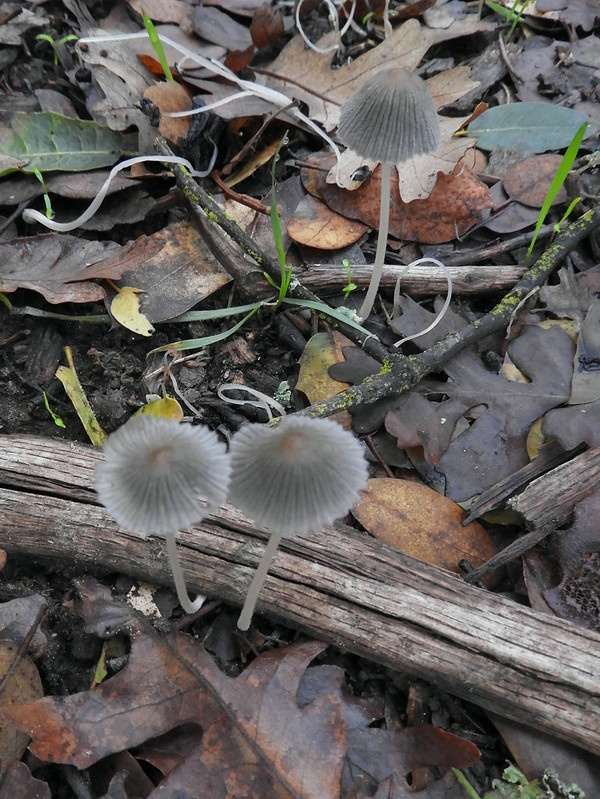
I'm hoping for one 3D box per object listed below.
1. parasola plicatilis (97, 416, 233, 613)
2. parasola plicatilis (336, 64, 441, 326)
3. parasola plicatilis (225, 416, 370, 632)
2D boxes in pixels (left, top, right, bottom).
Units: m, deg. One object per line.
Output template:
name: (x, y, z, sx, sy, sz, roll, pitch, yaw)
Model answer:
parasola plicatilis: (-0.325, 0.170, 1.812, 0.314, 0.229, 0.222, -15, 41, -19)
parasola plicatilis: (0.317, -0.720, 2.906, 0.336, 1.014, 0.336, -15, 43, -17)
parasola plicatilis: (-0.008, 0.181, 1.849, 0.337, 0.233, 0.219, 1, 39, 0)
